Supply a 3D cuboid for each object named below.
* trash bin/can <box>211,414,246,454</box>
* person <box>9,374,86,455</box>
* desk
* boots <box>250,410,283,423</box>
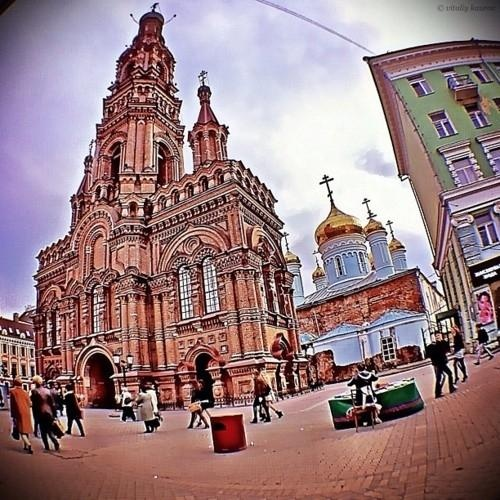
[{"bbox_3d":[-0.366,3.321,8.081,0.773,0.579,0.680,-6,-17,8],"label":"trash bin/can"},{"bbox_3d":[-4.268,3.297,8.826,0.880,1.446,1.842,-1,-20,-26],"label":"person"},{"bbox_3d":[2.426,2.943,8.562,1.783,0.505,1.302,-18,-14,14],"label":"desk"},{"bbox_3d":[0.518,4.936,13.004,1.173,0.398,0.362,-26,-33,35],"label":"boots"}]
